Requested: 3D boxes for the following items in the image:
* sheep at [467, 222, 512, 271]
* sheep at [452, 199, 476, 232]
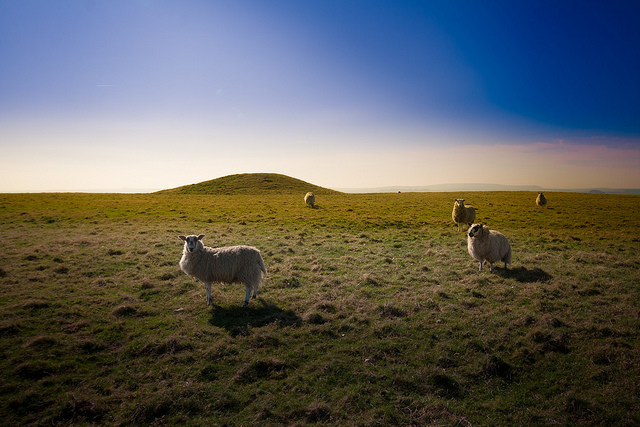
[{"bbox_3d":[9.202,1.830,23.101,2.340,2.564,0.944,-1,6,-11],"label":"sheep"},{"bbox_3d":[11.474,0.047,33.912,1.873,2.447,1.031,-5,7,-38],"label":"sheep"}]
